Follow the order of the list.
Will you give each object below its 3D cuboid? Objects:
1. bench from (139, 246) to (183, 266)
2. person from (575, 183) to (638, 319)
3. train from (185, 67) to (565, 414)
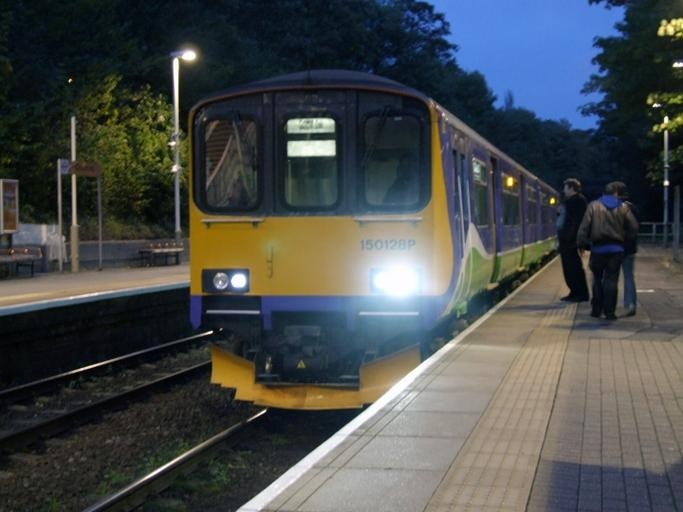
[{"bbox_3d":[-6.941,0.018,24.726,1.176,0.699,2.065,0,3,22],"label":"bench"},{"bbox_3d":[4.242,-0.077,10.213,0.885,2.245,0.677,-1,2,13],"label":"person"},{"bbox_3d":[0.746,-0.235,8.815,2.481,4.318,5.341,1,3,42],"label":"train"}]
